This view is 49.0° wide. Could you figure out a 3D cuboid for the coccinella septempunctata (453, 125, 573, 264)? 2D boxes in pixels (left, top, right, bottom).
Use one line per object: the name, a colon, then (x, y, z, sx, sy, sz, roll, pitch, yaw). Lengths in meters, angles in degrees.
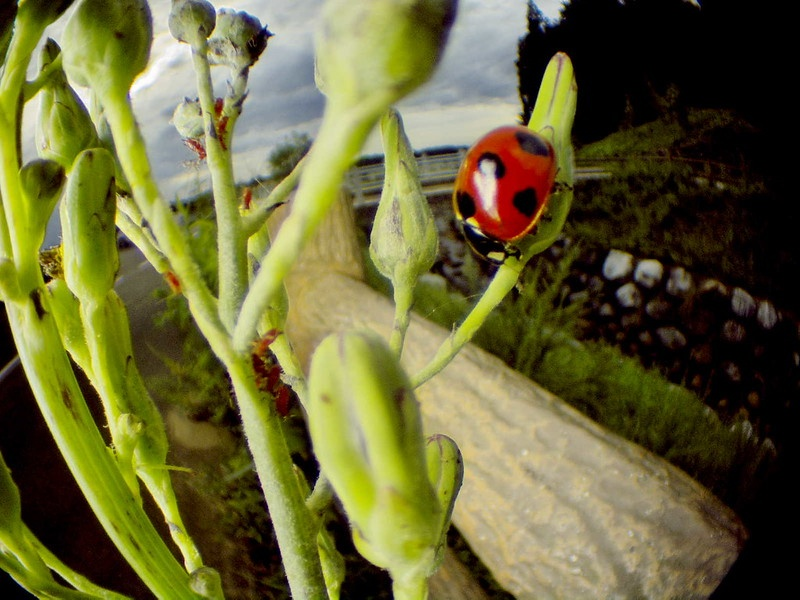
coccinella septempunctata: (0.090, -0.086, 0.716, 0.108, 0.109, 0.095, -17, 20, -21)
